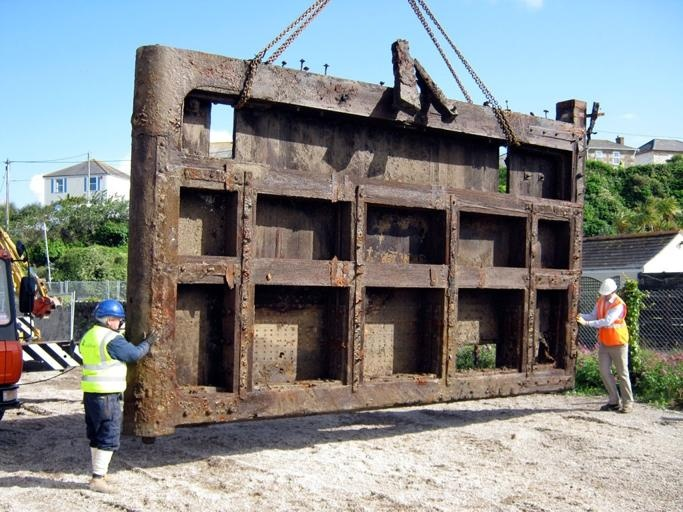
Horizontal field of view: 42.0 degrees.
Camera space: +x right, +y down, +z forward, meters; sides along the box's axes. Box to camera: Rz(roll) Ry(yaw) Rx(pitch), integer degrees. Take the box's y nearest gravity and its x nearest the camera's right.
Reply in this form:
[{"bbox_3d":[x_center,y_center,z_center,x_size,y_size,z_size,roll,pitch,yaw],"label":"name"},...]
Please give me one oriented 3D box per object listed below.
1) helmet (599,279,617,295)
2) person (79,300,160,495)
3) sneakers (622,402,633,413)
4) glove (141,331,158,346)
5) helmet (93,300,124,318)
[{"bbox_3d":[4.606,0.559,15.411,0.221,0.210,0.326,0,2,29],"label":"helmet"},{"bbox_3d":[-2.978,1.841,11.636,0.935,2.383,0.600,1,8,6],"label":"person"},{"bbox_3d":[4.959,2.665,15.450,0.092,0.129,0.247,-11,-15,36],"label":"sneakers"},{"bbox_3d":[-2.441,1.061,11.389,0.169,0.174,0.110,-2,8,-16],"label":"glove"},{"bbox_3d":[-3.085,0.719,11.816,0.335,0.231,0.272,0,2,-2],"label":"helmet"}]
